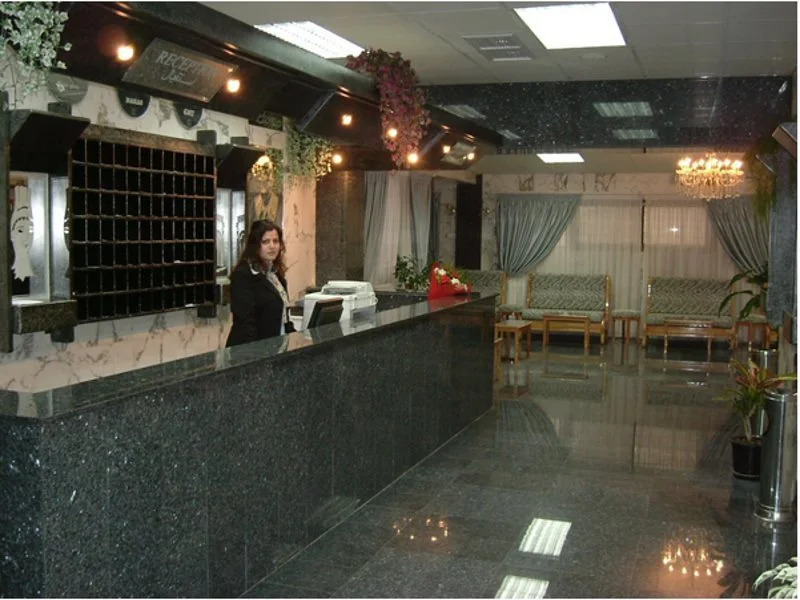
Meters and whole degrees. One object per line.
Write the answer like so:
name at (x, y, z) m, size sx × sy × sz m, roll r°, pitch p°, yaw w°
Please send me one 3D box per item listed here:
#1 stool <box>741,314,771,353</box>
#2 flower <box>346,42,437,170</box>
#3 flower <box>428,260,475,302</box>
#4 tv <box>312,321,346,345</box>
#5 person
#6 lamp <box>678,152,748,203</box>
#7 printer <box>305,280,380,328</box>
stool at (6.860, 0.636, 11.824) m, size 0.611 × 0.573 × 0.887 m, roll 1°, pitch 3°, yaw 21°
flower at (-0.073, -1.768, 5.606) m, size 0.407 × 0.918 × 0.732 m, roll 4°, pitch 5°, yaw 38°
flower at (0.545, -0.329, 7.235) m, size 0.534 × 0.626 × 0.220 m, roll 3°, pitch 15°, yaw 30°
tv at (-0.510, 0.237, 4.288) m, size 0.234 × 0.043 × 0.778 m, roll 0°, pitch 4°, yaw -7°
person at (-1.051, -0.144, 4.646) m, size 0.566 × 0.934 × 0.395 m, roll -2°, pitch 5°, yaw -28°
lamp at (5.634, -2.180, 11.088) m, size 1.051 × 0.760 × 1.108 m, roll 1°, pitch 5°, yaw -22°
printer at (-0.528, 0.054, 5.171) m, size 0.424 × 0.259 × 0.411 m, roll -9°, pitch 1°, yaw 12°
